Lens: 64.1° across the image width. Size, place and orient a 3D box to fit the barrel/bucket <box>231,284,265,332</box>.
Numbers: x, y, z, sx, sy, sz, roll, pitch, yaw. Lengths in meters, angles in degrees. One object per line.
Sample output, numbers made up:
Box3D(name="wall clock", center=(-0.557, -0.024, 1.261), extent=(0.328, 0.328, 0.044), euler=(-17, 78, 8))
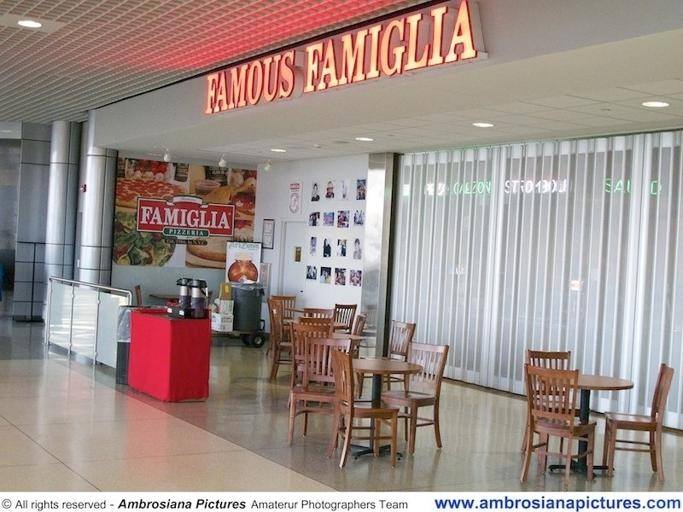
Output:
Box3D(name="barrel/bucket", center=(-2.080, 1.151, 11.924), extent=(0.683, 0.911, 0.310), euler=(6, -3, -10))

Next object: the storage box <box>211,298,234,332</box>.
Box3D(name="storage box", center=(-2.583, 1.267, 11.719), extent=(0.526, 0.622, 0.349), euler=(5, -3, 2))

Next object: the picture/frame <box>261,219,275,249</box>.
Box3D(name="picture/frame", center=(-1.828, -0.540, 13.606), extent=(0.073, 0.944, 0.785), euler=(-4, 6, -40))
